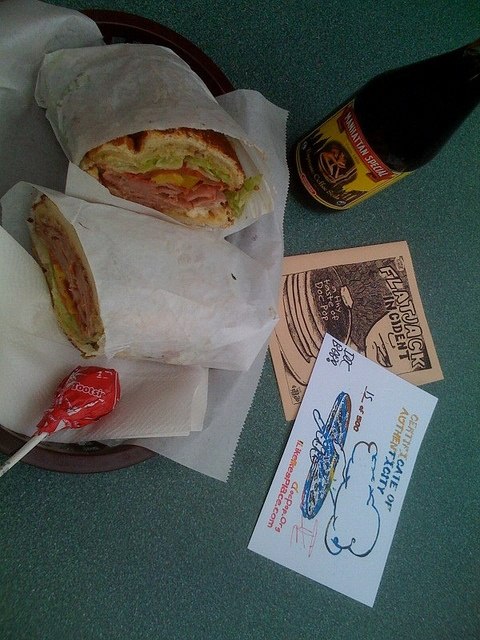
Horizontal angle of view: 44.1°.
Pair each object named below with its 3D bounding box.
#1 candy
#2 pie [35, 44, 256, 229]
[{"bbox_3d":[-0.196,0.096,0.721,0.059,0.033,0.092,42,54,14],"label":"candy"},{"bbox_3d":[-0.105,-0.242,0.805,0.249,0.214,0.232,-23,49,-26],"label":"pie"}]
